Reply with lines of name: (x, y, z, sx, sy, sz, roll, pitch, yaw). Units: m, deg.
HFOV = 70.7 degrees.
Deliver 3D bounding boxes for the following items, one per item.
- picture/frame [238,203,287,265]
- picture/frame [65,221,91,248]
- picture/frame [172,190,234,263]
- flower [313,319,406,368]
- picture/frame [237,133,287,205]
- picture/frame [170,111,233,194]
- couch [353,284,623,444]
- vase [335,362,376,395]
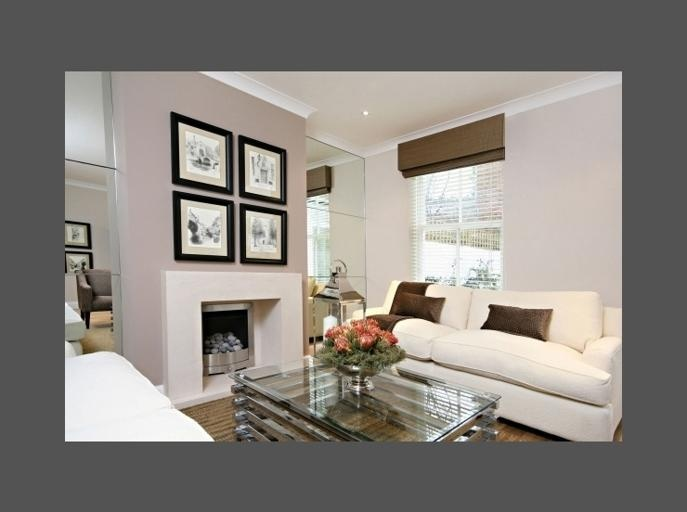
picture/frame: (-0.568, -0.143, 3.300, 0.030, 0.423, 0.423, -4, -6, 40)
picture/frame: (-1.144, -0.090, 2.070, 0.009, 0.099, 0.140, 2, -1, 22)
picture/frame: (-0.867, -0.174, 2.927, 0.033, 0.441, 0.442, -4, -5, 43)
flower: (0.093, 0.424, 2.308, 0.366, 0.204, 0.370, 0, -7, 2)
picture/frame: (-0.574, -0.586, 3.305, 0.038, 0.502, 0.527, -5, -6, 40)
picture/frame: (-0.861, -0.613, 2.952, 0.035, 0.413, 0.414, -6, -7, 41)
couch: (0.767, 0.545, 3.118, 0.676, 0.678, 1.861, -2, 4, -44)
vase: (0.053, 0.545, 2.154, 0.144, 0.093, 0.145, 0, -14, -3)
